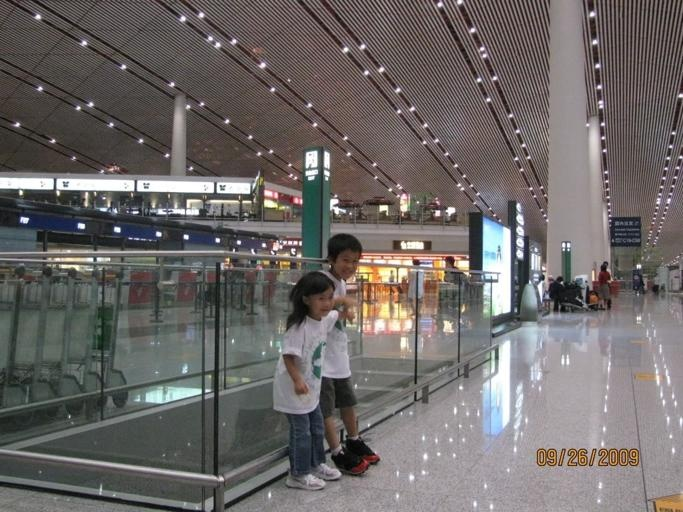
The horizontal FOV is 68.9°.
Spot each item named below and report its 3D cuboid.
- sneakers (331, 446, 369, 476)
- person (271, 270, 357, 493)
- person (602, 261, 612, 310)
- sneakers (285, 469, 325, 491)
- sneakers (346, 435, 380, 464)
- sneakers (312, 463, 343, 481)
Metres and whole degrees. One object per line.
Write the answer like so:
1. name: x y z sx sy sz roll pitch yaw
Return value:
1. sneakers: 0.054 1.295 3.155 0.242 0.116 0.102 -6 -2 36
2. person: -0.173 0.726 2.959 0.439 1.266 0.310 1 -1 -38
3. person: 9.578 1.043 17.904 0.348 1.595 2.448 -1 -1 27
4. sneakers: -0.217 1.313 2.947 0.216 0.109 0.095 0 -6 7
5. sneakers: 0.139 1.268 3.306 0.284 0.132 0.099 12 11 28
6. sneakers: -0.078 1.314 3.066 0.156 0.073 0.080 2 3 14
